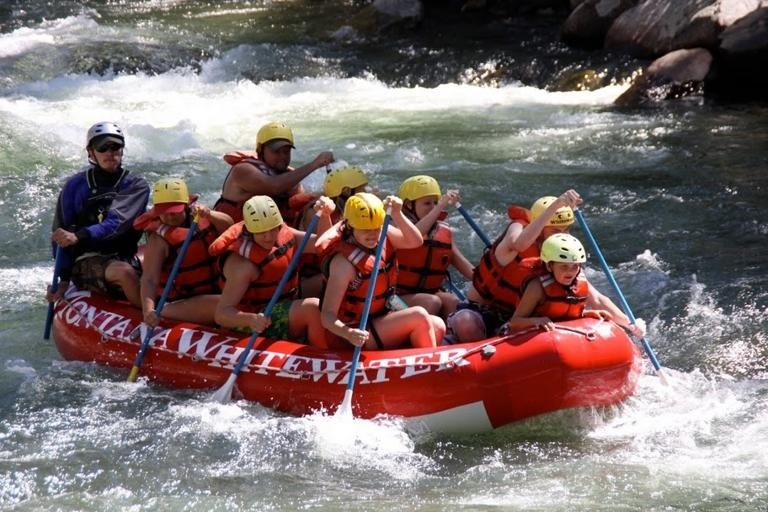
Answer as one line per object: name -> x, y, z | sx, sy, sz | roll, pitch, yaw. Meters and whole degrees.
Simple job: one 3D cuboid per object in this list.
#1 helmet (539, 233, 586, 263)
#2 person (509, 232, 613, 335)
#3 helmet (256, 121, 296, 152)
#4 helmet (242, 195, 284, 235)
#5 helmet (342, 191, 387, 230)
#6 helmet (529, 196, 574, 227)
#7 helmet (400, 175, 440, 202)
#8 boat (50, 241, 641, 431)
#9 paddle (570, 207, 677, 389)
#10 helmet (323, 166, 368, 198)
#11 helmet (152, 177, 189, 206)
helmet -> 1.810, -0.081, 7.602 | 0.280, 0.185, 0.368 | 3, -6, -30
person -> 1.838, 0.298, 7.898 | 1.002, 1.027, 0.934 | -2, 8, -26
helmet -> -1.366, -1.471, 9.389 | 0.357, 0.228, 0.366 | -9, 7, -38
helmet -> -1.284, -0.419, 8.037 | 0.323, 0.334, 0.426 | -18, -2, -11
helmet -> -0.194, -0.448, 7.785 | 0.415, 0.332, 0.329 | 3, 28, 0
helmet -> 1.793, -0.465, 8.046 | 0.433, 0.400, 0.426 | 6, 28, 5
helmet -> 0.381, -0.763, 8.590 | 0.381, 0.205, 0.280 | -19, -3, 29
boat -> -0.453, 0.667, 7.874 | 4.434, 0.753, 2.165 | 4, 7, 24
paddle -> 2.889, 0.543, 9.076 | 0.176, 2.399, 0.172 | -23, -6, -41
helmet -> -0.409, -0.852, 8.770 | 0.453, 0.342, 0.318 | -29, -1, 11
helmet -> -2.379, -0.732, 8.526 | 0.392, 0.243, 0.354 | 0, 28, -6
